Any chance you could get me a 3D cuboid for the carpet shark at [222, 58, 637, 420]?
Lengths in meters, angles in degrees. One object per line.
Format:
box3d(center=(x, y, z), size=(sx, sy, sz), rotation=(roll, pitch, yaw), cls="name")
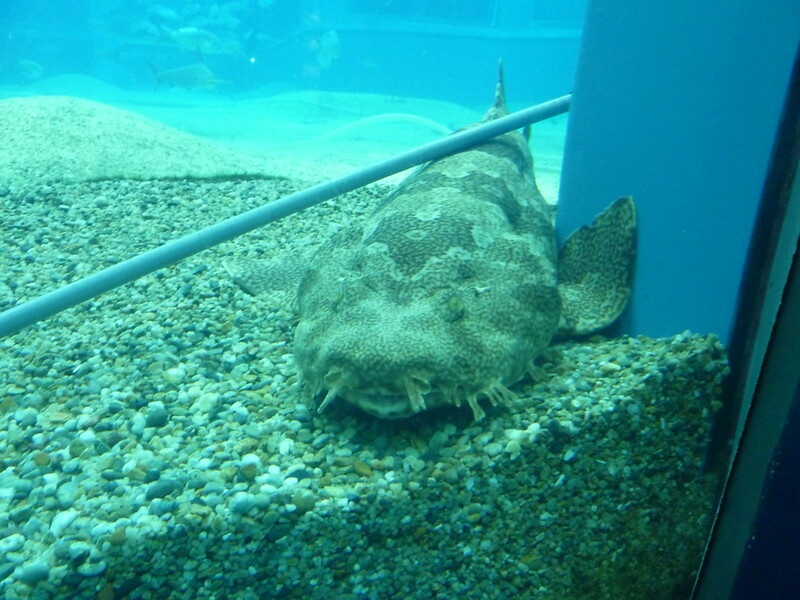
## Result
box3d(center=(0.175, -0.332, 3.265), size=(1.356, 0.603, 1.396), rotation=(-2, 40, 19), cls="carpet shark")
